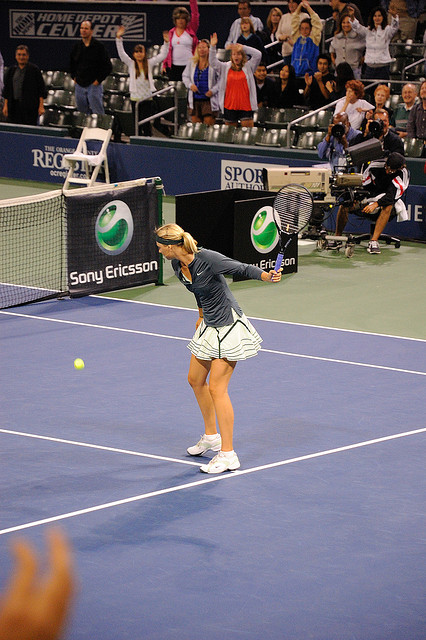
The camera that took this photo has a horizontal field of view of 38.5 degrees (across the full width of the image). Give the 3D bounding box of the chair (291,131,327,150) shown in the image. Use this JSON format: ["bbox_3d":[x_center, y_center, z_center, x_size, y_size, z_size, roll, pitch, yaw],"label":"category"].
[{"bbox_3d":[2.561,-4.643,16.309,0.888,0.702,0.747,5,23,20],"label":"chair"}]

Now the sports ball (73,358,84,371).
[{"bbox_3d":[-1.781,0.596,8.067,0.141,0.157,0.138,1,2,0],"label":"sports ball"}]

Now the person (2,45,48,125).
[{"bbox_3d":[-6.166,-7.467,19.583,1.454,2.230,0.815,2,8,14],"label":"person"}]

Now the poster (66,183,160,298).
[{"bbox_3d":[-1.793,-1.453,11.064,1.777,2.057,0.224,-5,9,-32],"label":"poster"}]

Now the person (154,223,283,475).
[{"bbox_3d":[-0.018,0.276,5.519,0.950,2.258,0.655,-1,8,-5],"label":"person"}]

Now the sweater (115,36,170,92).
[{"bbox_3d":[-2.155,-7.755,18.689,1.527,1.598,0.630,-3,8,-21],"label":"sweater"}]

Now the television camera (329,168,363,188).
[{"bbox_3d":[2.769,-2.946,12.704,0.559,0.223,0.334,-1,-3,6],"label":"television camera"}]

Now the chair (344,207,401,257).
[{"bbox_3d":[3.457,-2.019,13.604,1.319,1.498,1.137,0,2,-1],"label":"chair"}]

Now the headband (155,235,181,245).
[{"bbox_3d":[-0.402,-0.687,5.252,0.230,0.076,0.094,4,8,33],"label":"headband"}]

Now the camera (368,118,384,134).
[{"bbox_3d":[3.414,-4.079,12.851,0.307,0.287,0.204,1,8,12],"label":"camera"}]

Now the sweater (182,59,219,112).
[{"bbox_3d":[-0.322,-6.801,17.417,0.771,1.643,0.641,7,18,25],"label":"sweater"}]
